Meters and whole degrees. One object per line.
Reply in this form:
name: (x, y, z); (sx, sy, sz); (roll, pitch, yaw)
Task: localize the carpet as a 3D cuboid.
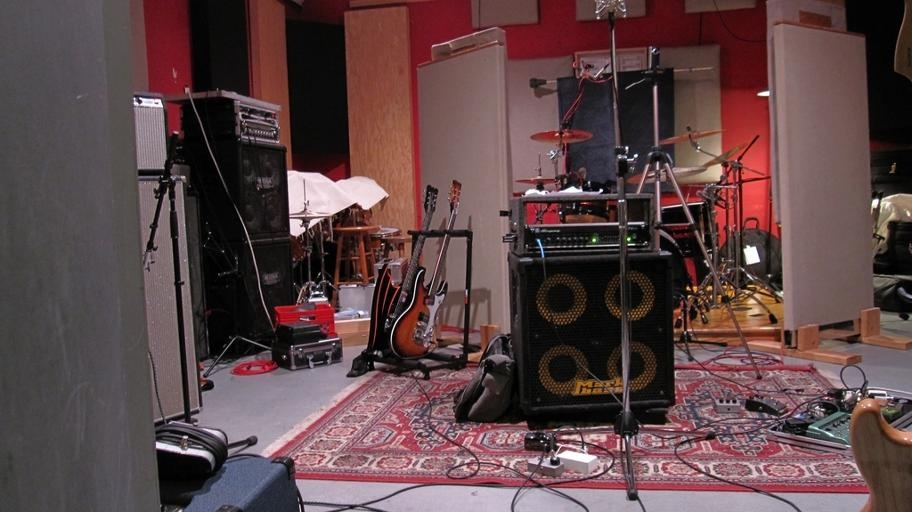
carpet: (0.166, 1.187, 4.381); (2.730, 0.019, 2.949); (-16, -34, 35)

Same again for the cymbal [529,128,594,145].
cymbal: (1.036, -1.076, 6.435); (0.399, 0.079, 0.385); (2, -4, -35)

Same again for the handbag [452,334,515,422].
handbag: (0.210, 0.774, 4.580); (0.387, 0.528, 0.537); (7, 15, 0)

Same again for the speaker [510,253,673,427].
speaker: (0.801, 0.483, 4.720); (1.173, 1.194, 0.937); (0, -1, 3)

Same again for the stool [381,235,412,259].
stool: (-0.694, -0.120, 8.346); (0.342, 0.348, 0.343); (-1, -4, 14)

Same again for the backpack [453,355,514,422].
backpack: (0.186, 0.846, 4.507); (0.229, 0.348, 0.383); (19, 4, 11)

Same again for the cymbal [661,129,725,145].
cymbal: (2.590, -1.308, 7.808); (0.583, 0.129, 0.579); (-11, 5, 29)

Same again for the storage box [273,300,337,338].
storage box: (-1.240, 0.511, 5.919); (0.468, 0.226, 0.521); (-5, 13, -12)

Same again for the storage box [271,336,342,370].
storage box: (-1.176, 0.759, 5.672); (0.532, 0.205, 0.265); (-5, 13, -14)
